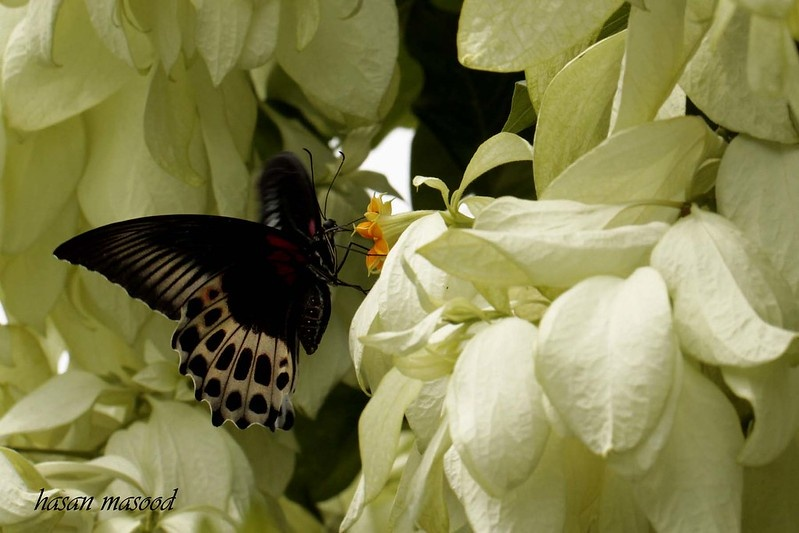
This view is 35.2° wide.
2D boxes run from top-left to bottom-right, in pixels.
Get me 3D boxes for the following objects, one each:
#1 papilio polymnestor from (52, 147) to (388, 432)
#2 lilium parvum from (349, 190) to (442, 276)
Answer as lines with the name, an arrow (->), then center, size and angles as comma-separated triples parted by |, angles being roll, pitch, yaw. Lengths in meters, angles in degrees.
papilio polymnestor -> -0.180, 0.038, 1.295 | 0.182, 0.312, 0.291 | 19, 34, 36
lilium parvum -> -0.007, -0.028, 1.104 | 0.063, 0.049, 0.043 | -25, 10, -28
